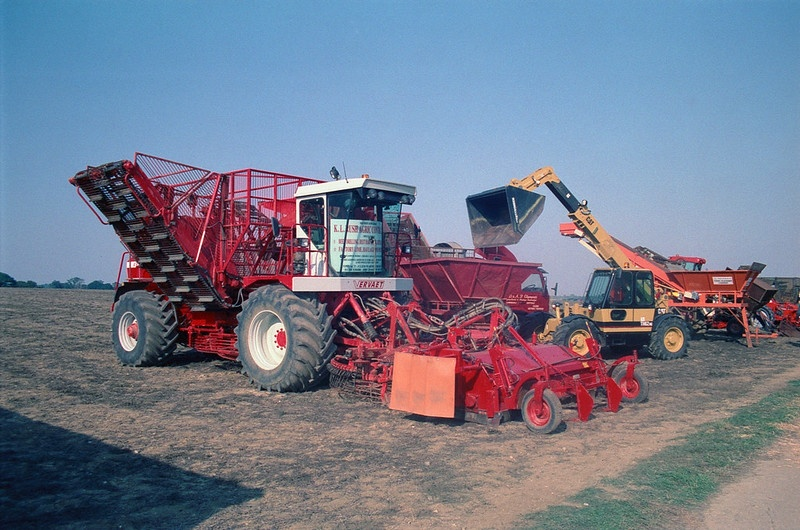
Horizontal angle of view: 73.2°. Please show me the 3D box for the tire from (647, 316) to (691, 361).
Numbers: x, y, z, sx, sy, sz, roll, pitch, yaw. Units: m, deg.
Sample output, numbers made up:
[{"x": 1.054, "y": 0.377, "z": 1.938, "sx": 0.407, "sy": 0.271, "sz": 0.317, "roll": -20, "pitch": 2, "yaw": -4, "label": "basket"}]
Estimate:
[{"x": 8.077, "y": 2.213, "z": 16.117, "sx": 1.347, "sy": 1.311, "sz": 0.411, "roll": -17, "pitch": 5, "yaw": -20, "label": "tire"}]

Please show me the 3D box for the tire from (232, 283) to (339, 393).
[{"x": -2.384, "y": 1.586, "z": 11.576, "sx": 1.996, "sy": 1.992, "sz": 0.709, "roll": 15, "pitch": 7, "yaw": 38, "label": "tire"}]

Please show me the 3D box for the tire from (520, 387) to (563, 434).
[{"x": 2.502, "y": 2.584, "z": 9.541, "sx": 0.796, "sy": 0.848, "sz": 0.265, "roll": -1, "pitch": -8, "yaw": 43, "label": "tire"}]

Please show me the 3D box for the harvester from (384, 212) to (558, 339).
[{"x": 2.171, "y": 0.413, "z": 16.084, "sx": 4.538, "sy": 2.985, "sz": 3.171, "roll": 1, "pitch": 0, "yaw": -23, "label": "harvester"}]

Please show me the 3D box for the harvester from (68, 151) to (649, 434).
[{"x": -0.984, "y": 0.552, "z": 12.629, "sx": 10.458, "sy": 4.267, "sz": 6.808, "roll": 0, "pitch": -1, "yaw": 31, "label": "harvester"}]

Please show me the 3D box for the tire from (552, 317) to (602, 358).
[{"x": 4.356, "y": 1.793, "z": 13.226, "sx": 1.051, "sy": 1.026, "sz": 0.349, "roll": 9, "pitch": 4, "yaw": -21, "label": "tire"}]

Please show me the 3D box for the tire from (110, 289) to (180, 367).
[{"x": -7.006, "y": 1.766, "z": 14.482, "sx": 2.190, "sy": 2.181, "sz": 0.689, "roll": 20, "pitch": 7, "yaw": 31, "label": "tire"}]

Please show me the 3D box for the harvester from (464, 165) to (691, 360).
[{"x": 5.756, "y": 0.045, "z": 16.377, "sx": 6.909, "sy": 5.330, "sz": 2.573, "roll": 4, "pitch": 2, "yaw": -13, "label": "harvester"}]
